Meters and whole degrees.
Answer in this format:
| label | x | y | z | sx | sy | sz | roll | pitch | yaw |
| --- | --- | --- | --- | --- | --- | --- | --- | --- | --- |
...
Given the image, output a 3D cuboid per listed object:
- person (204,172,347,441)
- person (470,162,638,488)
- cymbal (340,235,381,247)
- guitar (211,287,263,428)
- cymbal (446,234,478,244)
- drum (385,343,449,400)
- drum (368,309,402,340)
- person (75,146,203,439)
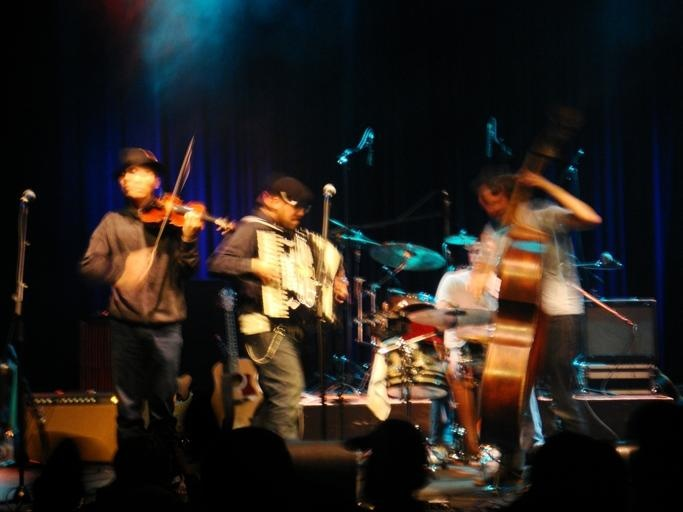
| label | x | y | z | sx | sy | sz | roll | pitch | yaw |
| --- | --- | --- | --- | --- | --- | --- | --- | --- | --- |
| person | -0.547 | 0.371 | 6.718 | 1.020 | 2.513 | 1.066 | 2 | 4 | -39 |
| person | 1.881 | 0.501 | 6.693 | 1.096 | 2.877 | 1.254 | -1 | -7 | -29 |
| cymbal | 0.209 | -0.228 | 8.315 | 0.338 | 0.089 | 0.164 | 16 | -18 | -7 |
| guitar | -1.021 | 1.022 | 7.377 | 0.484 | 1.419 | 0.494 | 0 | 4 | -31 |
| cymbal | 1.429 | -0.196 | 8.739 | 0.229 | 0.053 | 0.223 | -7 | 9 | -33 |
| drum | 0.722 | 1.087 | 7.251 | 0.606 | 0.513 | 0.594 | 18 | -29 | -41 |
| drum | 0.457 | 0.710 | 7.437 | 0.282 | 0.270 | 0.395 | -2 | 1 | -24 |
| person | -1.682 | 0.470 | 6.177 | 1.028 | 2.815 | 1.017 | -1 | -1 | -30 |
